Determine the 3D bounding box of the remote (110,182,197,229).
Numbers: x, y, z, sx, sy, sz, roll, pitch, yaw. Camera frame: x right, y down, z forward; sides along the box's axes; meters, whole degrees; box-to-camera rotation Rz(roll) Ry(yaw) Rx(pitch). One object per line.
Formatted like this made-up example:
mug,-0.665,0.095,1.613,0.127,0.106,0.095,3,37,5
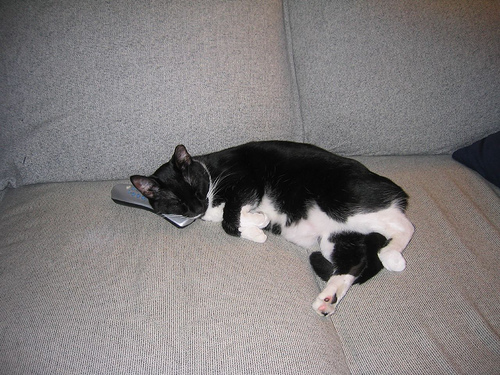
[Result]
remote,-0.404,0.077,1.706,0.396,0.063,0.127,23,31,3

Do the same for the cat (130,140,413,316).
cat,0.078,0.117,1.775,1.164,0.420,0.713,12,57,20
